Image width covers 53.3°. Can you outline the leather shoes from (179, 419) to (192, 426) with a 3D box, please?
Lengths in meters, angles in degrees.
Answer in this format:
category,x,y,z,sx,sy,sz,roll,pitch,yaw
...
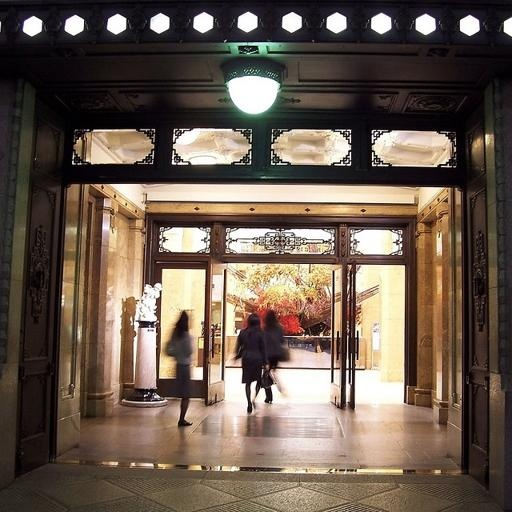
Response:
category,x,y,z,sx,sy,sz,roll,pitch,yaw
leather shoes,-0.836,1.965,6.054,0.158,0.067,0.058,0,3,-8

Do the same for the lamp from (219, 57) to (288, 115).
category,x,y,z,sx,sy,sz,roll,pitch,yaw
lamp,-0.038,-1.200,3.613,0.391,0.279,0.396,-10,11,-33

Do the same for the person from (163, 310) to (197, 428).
category,x,y,z,sx,sy,sz,roll,pitch,yaw
person,-0.926,1.339,6.181,0.329,1.350,0.447,2,-8,-10

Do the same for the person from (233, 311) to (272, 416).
category,x,y,z,sx,sy,sz,roll,pitch,yaw
person,-0.086,1.511,7.433,0.449,1.379,0.774,1,-8,-1
